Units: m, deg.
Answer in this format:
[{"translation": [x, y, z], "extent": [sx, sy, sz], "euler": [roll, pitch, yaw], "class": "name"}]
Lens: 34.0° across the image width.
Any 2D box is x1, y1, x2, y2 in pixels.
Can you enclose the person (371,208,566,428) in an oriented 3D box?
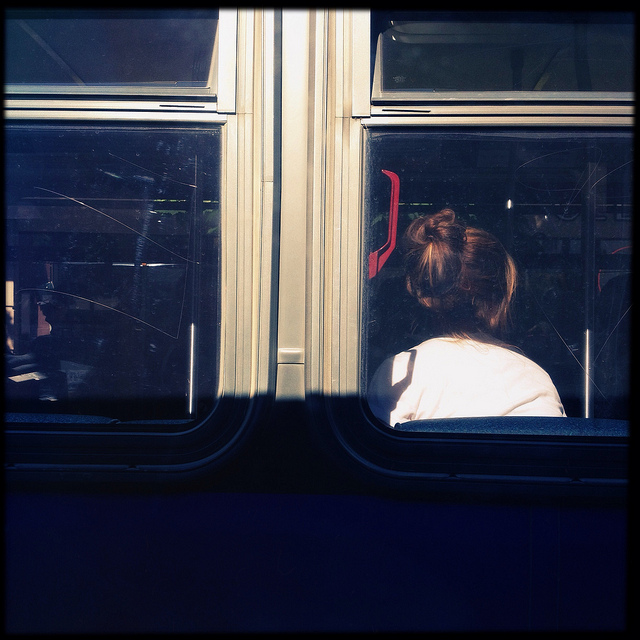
[{"translation": [0.542, 0.007, 3.509], "extent": [0.733, 0.749, 0.427], "euler": [2, 10, 36], "class": "person"}]
